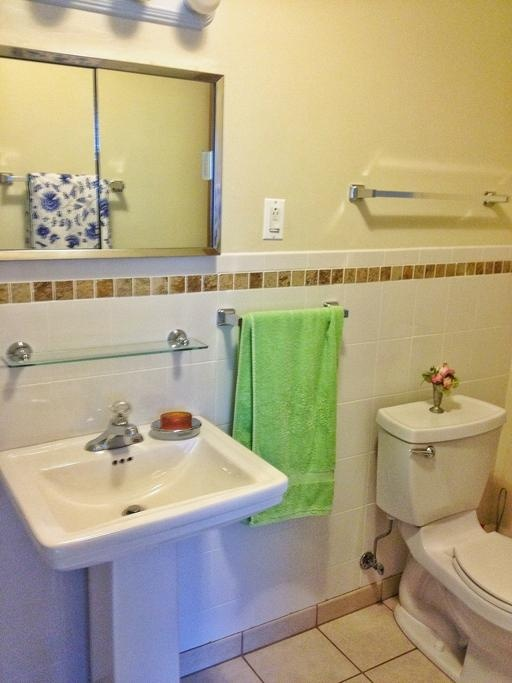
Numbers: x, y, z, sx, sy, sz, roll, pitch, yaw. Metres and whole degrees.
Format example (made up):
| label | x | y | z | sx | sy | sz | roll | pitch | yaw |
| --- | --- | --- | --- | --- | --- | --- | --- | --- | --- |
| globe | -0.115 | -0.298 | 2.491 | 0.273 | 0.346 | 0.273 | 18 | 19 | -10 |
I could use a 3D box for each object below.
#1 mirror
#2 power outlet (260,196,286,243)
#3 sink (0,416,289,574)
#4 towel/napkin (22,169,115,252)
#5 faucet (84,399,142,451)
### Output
| label | x | y | z | sx | sy | sz | roll | pitch | yaw |
| --- | --- | --- | --- | --- | --- | --- | --- | --- | --- |
| mirror | -0.314 | -0.407 | 1.153 | 0.563 | 0.393 | 0.045 | -4 | 11 | -28 |
| power outlet | 0.050 | -0.328 | 1.470 | 0.072 | 0.113 | 0.018 | -12 | 20 | -41 |
| sink | -0.239 | 0.304 | 1.141 | 0.508 | 0.143 | 0.451 | -9 | 17 | -35 |
| towel/napkin | -0.368 | -0.264 | 1.105 | 0.163 | 0.153 | 0.043 | -7 | 17 | -35 |
| faucet | -0.326 | 0.191 | 1.269 | 0.152 | 0.102 | 0.094 | -10 | -11 | 30 |
